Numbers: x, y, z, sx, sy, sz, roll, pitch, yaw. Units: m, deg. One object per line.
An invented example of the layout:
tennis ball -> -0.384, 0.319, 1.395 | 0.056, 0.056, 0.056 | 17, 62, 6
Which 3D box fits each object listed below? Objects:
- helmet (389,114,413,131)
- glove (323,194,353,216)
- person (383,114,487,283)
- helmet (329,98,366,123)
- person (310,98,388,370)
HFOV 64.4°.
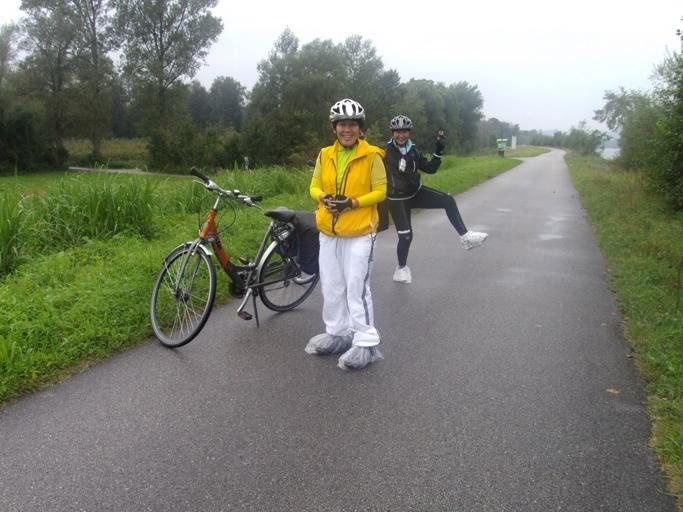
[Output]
helmet -> 0.798, -1.839, 7.391 | 0.245, 0.182, 0.404 | -2, 16, 2
glove -> -0.044, -0.509, 5.163 | 0.296, 0.195, 0.232 | 0, 13, 0
person -> 1.239, -0.919, 7.794 | 1.243, 2.412, 1.012 | -10, 8, 4
helmet -> 0.048, -1.437, 5.244 | 0.309, 0.226, 0.431 | 0, 14, -1
person -> 0.034, -0.249, 5.391 | 0.781, 2.598, 0.635 | 2, 10, 10
